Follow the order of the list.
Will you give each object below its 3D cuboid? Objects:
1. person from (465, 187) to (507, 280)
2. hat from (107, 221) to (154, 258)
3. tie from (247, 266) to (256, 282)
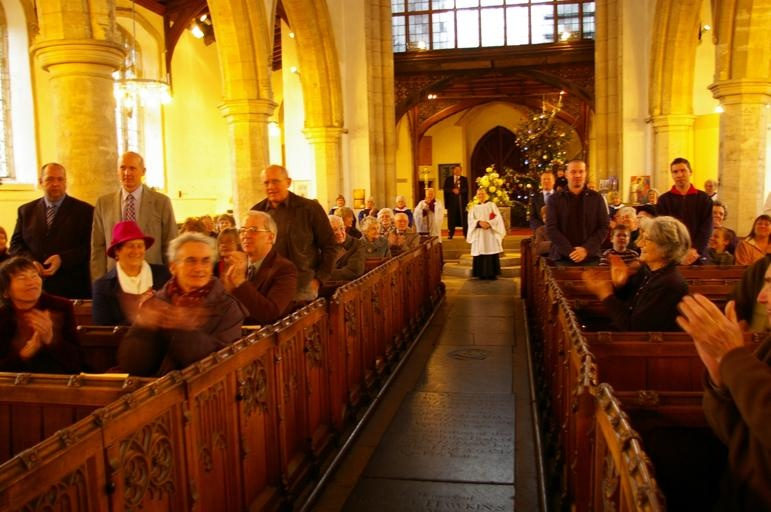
[{"bbox_3d":[2.158,-0.321,12.861,0.767,1.706,0.582,-2,10,12],"label":"person"},{"bbox_3d":[-1.873,-0.140,4.382,0.318,0.175,0.354,-20,-8,-9],"label":"hat"},{"bbox_3d":[-1.048,0.139,4.655,0.071,0.098,0.036,13,-3,16],"label":"tie"}]
